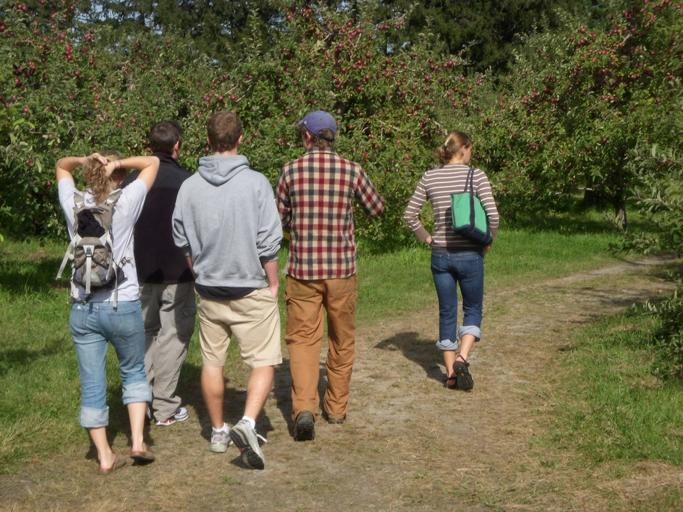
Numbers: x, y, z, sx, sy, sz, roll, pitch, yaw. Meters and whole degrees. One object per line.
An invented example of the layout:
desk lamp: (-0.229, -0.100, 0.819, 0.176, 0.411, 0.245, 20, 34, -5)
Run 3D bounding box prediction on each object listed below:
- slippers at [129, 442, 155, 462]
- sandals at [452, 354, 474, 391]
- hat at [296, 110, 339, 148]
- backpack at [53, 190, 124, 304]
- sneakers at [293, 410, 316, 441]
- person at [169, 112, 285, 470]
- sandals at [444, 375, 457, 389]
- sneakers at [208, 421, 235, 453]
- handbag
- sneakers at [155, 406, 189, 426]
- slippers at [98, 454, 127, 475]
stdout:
slippers: (-1.907, 1.909, 7.982, 0.119, 0.136, 0.305, 0, -9, 4)
sandals: (1.398, 1.354, 9.401, 0.179, 0.457, 0.171, -17, -19, 29)
hat: (-0.233, -1.318, 8.519, 0.286, 0.245, 0.436, -3, 47, -12)
backpack: (-2.337, -0.075, 7.766, 0.557, 0.985, 0.457, 0, 4, 3)
sneakers: (-0.383, 1.716, 8.402, 0.219, 0.334, 0.239, -1, 8, -4)
person: (-1.079, 0.331, 7.945, 0.994, 3.421, 0.751, 0, 8, 2)
sandals: (1.214, 1.449, 9.501, 0.160, 0.200, 0.084, 9, -9, -22)
sneakers: (-1.202, 1.800, 8.253, 0.166, 0.188, 0.405, 0, 11, 2)
handbag: (1.429, -0.523, 9.190, 0.211, 0.788, 0.595, -8, -25, 35)
sneakers: (-1.780, 1.721, 8.744, 0.144, 0.168, 0.339, 20, 38, 36)
slippers: (-2.184, 2.001, 7.918, 0.112, 0.132, 0.307, 5, 31, 10)
